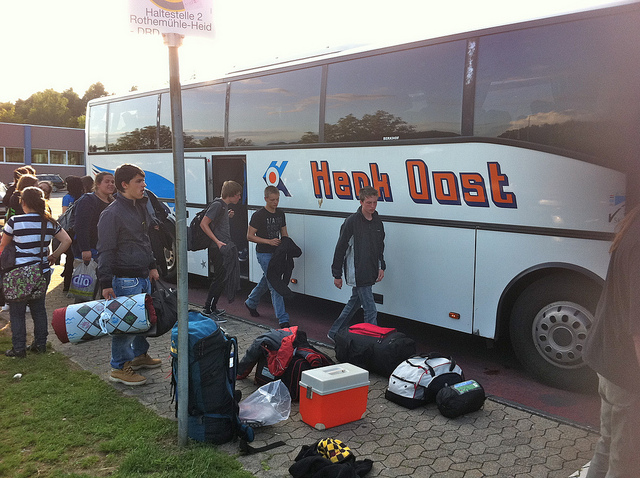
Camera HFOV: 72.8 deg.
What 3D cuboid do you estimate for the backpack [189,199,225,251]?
[{"bbox_3d":[-2.145,-0.268,8.181,0.718,0.997,0.372,6,8,36],"label":"backpack"}]

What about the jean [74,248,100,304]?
[{"bbox_3d":[-4.085,0.633,7.605,0.803,1.076,0.341,5,5,36],"label":"jean"}]

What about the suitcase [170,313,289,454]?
[{"bbox_3d":[-1.110,1.412,4.553,0.677,1.309,1.349,-7,10,-41],"label":"suitcase"}]

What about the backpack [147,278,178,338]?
[{"bbox_3d":[-1.763,0.833,4.926,0.272,0.454,0.416,-1,7,-23],"label":"backpack"}]

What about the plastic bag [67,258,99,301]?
[{"bbox_3d":[-4.360,0.753,8.018,0.675,0.860,0.301,8,9,44],"label":"plastic bag"}]

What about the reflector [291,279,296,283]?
[{"bbox_3d":[-0.511,0.805,8.505,0.091,0.050,0.129,5,13,11],"label":"reflector"}]
